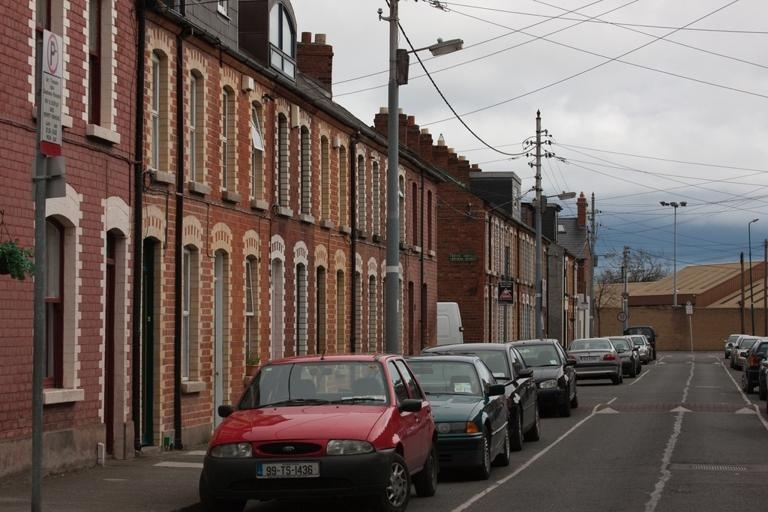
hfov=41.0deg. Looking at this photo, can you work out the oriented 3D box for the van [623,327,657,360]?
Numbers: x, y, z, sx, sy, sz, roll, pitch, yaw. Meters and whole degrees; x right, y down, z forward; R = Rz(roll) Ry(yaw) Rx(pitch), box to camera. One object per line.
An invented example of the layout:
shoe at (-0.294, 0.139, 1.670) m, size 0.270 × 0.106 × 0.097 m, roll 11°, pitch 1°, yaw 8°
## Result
van at (18.367, 5.831, 72.987) m, size 2.015 × 1.873 × 3.430 m, roll -2°, pitch -10°, yaw 11°
